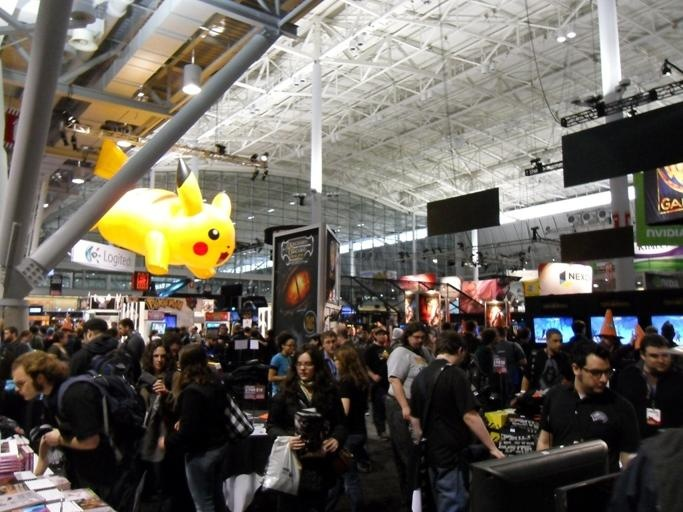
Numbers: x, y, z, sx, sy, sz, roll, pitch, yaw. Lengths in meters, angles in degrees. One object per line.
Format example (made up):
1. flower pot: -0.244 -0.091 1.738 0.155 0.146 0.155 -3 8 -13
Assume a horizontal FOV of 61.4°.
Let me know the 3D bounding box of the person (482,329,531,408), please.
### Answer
1. person: 2.309 1.631 8.375 0.713 1.619 0.498 0 26 25

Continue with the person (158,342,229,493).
1. person: -1.234 1.233 4.885 0.498 0.949 0.282 -1 -7 -5

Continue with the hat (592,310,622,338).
1. hat: 5.237 1.328 11.308 0.530 0.560 0.580 5 -15 1

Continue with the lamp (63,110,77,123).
1. lamp: -5.040 -2.521 10.632 0.241 0.256 0.144 4 -9 -43

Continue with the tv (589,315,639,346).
1. tv: 5.127 1.378 10.703 0.046 0.640 1.065 3 -6 -27

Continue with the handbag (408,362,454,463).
1. handbag: 0.721 1.309 4.753 0.171 0.704 0.394 1 4 20

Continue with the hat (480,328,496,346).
1. hat: 2.087 1.161 8.199 0.185 0.230 0.234 15 1 42

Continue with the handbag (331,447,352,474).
1. handbag: 0.004 1.636 4.609 0.168 0.207 0.205 10 -15 -8

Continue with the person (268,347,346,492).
1. person: -0.277 1.275 4.493 0.617 1.107 0.415 -1 -7 -6

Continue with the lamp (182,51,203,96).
1. lamp: -2.289 -2.742 8.788 0.265 0.870 0.785 0 -7 -13

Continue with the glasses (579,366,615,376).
1. glasses: 1.845 0.847 4.221 0.157 0.048 0.162 2 -9 -8

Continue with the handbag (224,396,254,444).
1. handbag: -0.846 1.462 5.026 0.134 0.278 0.366 -30 -38 -24

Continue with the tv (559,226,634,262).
1. tv: 6.550 -0.269 14.680 0.190 0.855 1.874 2 -4 -26

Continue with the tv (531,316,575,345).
1. tv: 4.139 1.426 11.146 0.023 0.820 1.267 9 -10 -31

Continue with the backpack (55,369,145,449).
1. backpack: -1.941 1.191 4.609 0.649 0.619 0.454 -2 -2 -31
